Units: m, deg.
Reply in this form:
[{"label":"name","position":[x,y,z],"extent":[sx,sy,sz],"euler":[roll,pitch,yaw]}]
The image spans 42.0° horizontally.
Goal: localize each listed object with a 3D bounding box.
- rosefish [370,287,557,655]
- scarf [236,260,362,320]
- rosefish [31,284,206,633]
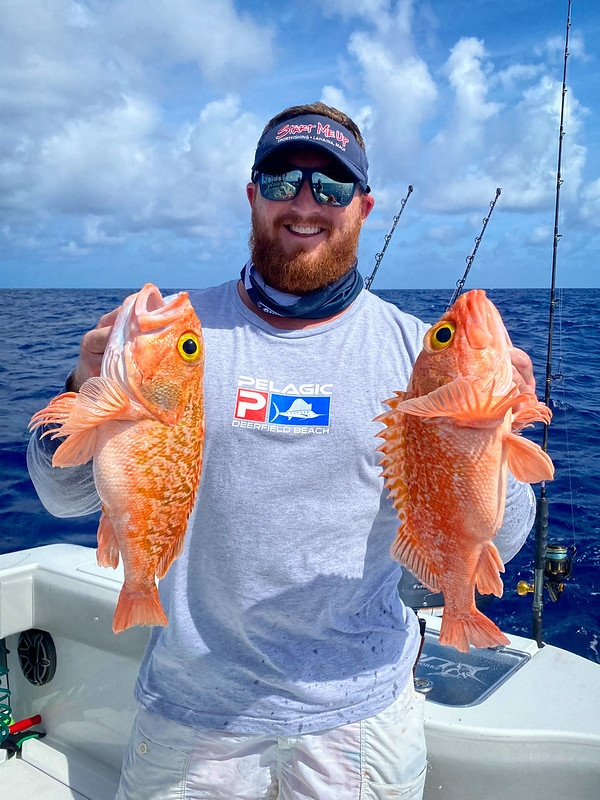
[{"label":"rosefish","position":[0.427,0.210,2.089],"extent":[0.469,1.001,0.401],"euler":[1,12,12]},{"label":"scarf","position":[0.000,-0.339,2.426],"extent":[0.390,0.367,0.140],"euler":[4,-39,4]},{"label":"rosefish","position":[-0.458,0.150,2.134],"extent":[0.328,0.921,0.322],"euler":[1,12,14]}]
